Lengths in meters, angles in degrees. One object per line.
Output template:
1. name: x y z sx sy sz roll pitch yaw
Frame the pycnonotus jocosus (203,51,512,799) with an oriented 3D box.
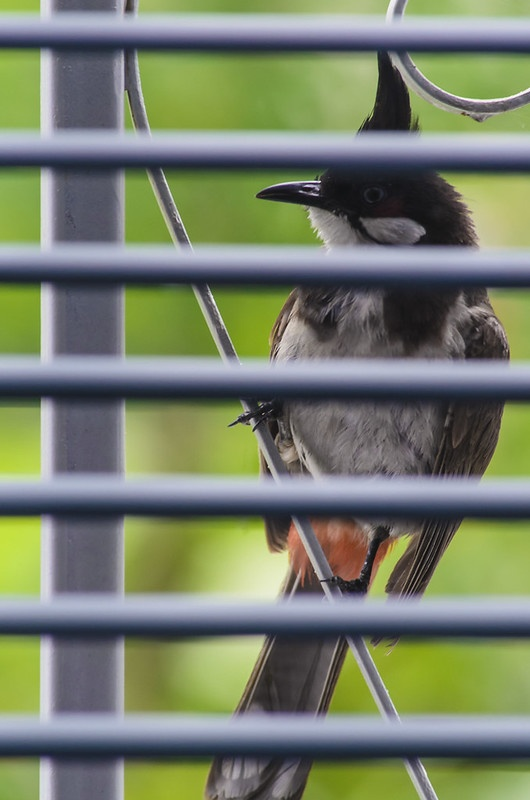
1. pycnonotus jocosus: 0.115 0.019 1.736 0.207 0.388 0.821 4 -89 -4
